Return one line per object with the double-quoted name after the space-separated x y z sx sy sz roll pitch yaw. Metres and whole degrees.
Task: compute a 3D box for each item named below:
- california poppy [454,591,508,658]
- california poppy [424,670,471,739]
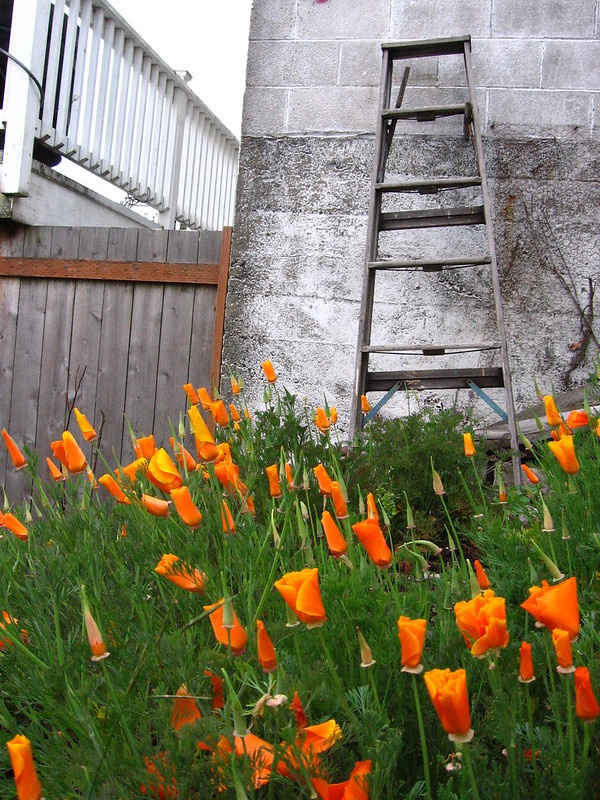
0.204 0.247 0.679 0.044 0.055 0.045 -17 -6 -23 "california poppy"
0.132 0.268 0.546 0.031 0.059 0.029 -14 12 46 "california poppy"
